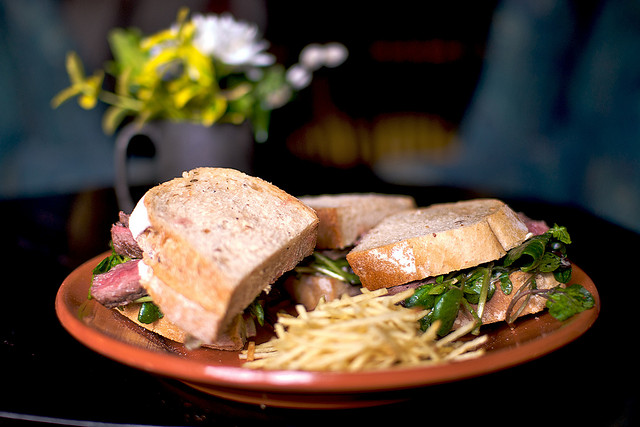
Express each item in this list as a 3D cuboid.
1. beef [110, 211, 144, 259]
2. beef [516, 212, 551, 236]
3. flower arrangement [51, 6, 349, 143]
[{"bbox_3d":[-0.909,0.093,2.665,0.132,0.227,0.149,3,2,38],"label":"beef"},{"bbox_3d":[1.068,0.059,2.842,0.151,0.048,0.147,5,11,-5],"label":"beef"},{"bbox_3d":[-0.735,-0.819,3.424,1.332,1.077,0.545,-3,14,15],"label":"flower arrangement"}]
